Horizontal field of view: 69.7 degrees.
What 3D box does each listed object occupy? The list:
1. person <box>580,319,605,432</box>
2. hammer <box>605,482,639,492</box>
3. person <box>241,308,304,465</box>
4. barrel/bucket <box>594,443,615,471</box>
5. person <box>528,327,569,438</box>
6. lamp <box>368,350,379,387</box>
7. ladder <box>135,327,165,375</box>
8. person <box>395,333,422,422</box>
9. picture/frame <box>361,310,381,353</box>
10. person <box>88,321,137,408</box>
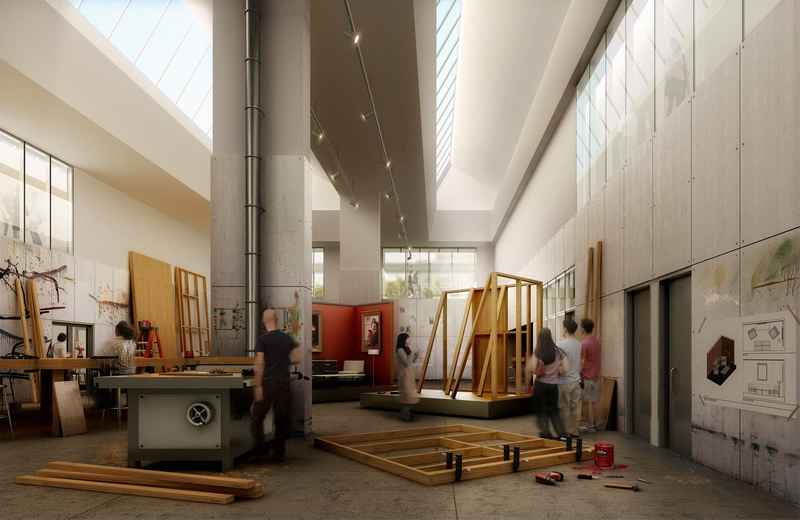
[{"bbox_3d":[3.563,2.183,10.776,0.342,2.137,0.875,1,0,20],"label":"person"},{"bbox_3d":[2.892,2.968,7.489,0.239,0.077,0.162,-2,-7,14],"label":"hammer"},{"bbox_3d":[-1.881,1.869,8.611,0.677,2.233,0.454,0,1,-12],"label":"person"},{"bbox_3d":[2.905,2.819,8.196,0.303,0.351,0.315,1,-7,0],"label":"barrel/bucket"},{"bbox_3d":[2.548,2.123,9.851,0.567,1.786,0.457,1,0,18],"label":"person"},{"bbox_3d":[-0.878,3.344,18.031,0.295,1.148,0.634,0,0,-19],"label":"lamp"},{"bbox_3d":[-7.282,2.396,16.734,0.677,1.010,2.747,0,-1,-24],"label":"ladder"},{"bbox_3d":[0.125,2.452,11.995,0.398,1.817,0.587,0,0,1],"label":"person"},{"bbox_3d":[-0.929,2.307,18.192,0.416,1.335,0.997,0,0,-19],"label":"picture/frame"},{"bbox_3d":[-5.701,2.106,11.358,0.807,1.803,0.899,0,0,-30],"label":"person"}]
